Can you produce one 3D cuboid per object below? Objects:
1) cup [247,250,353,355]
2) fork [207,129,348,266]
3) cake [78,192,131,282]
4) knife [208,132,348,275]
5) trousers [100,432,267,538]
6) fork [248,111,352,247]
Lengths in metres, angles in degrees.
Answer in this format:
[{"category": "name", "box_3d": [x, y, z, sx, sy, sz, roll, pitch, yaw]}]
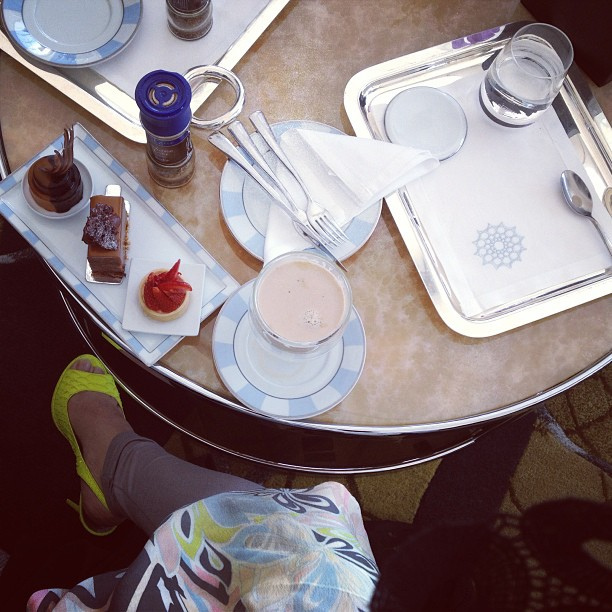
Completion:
[{"category": "cup", "box_3d": [-0.007, 0.000, 0.773, 0.135, 0.106, 0.145, 0, 79, -1]}, {"category": "fork", "box_3d": [-0.036, -0.161, 0.835, 0.037, 0.022, 0.268, -42, 92, -12]}, {"category": "cake", "box_3d": [-0.300, -0.103, 0.826, 0.062, 0.085, 0.137, 1, 71, -15]}, {"category": "knife", "box_3d": [-0.036, -0.153, 0.833, 0.028, 0.020, 0.269, -38, 88, -11]}, {"category": "trousers", "box_3d": [-0.279, 0.358, 1.157, 0.164, 0.446, 0.188, -52, 124, -29]}, {"category": "fork", "box_3d": [-0.011, -0.184, 0.839, 0.032, 0.026, 0.235, -30, 84, -3]}]
